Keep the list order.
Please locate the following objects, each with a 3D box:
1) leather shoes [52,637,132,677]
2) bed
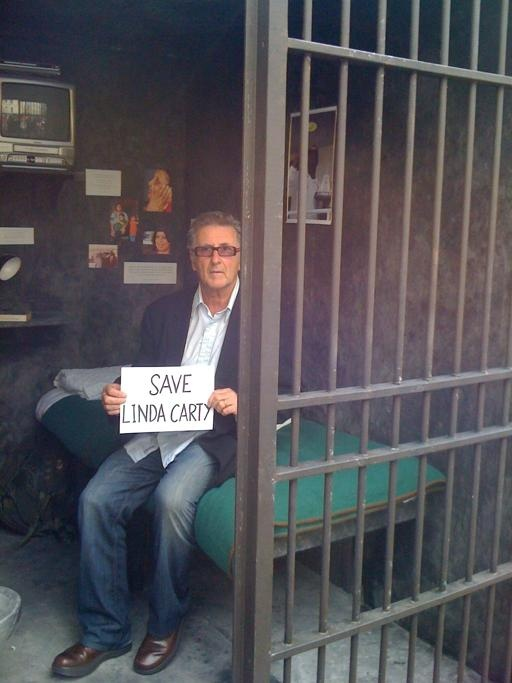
[{"bbox_3d":[-0.553,1.004,2.149,0.076,0.105,0.211,0,-5,44],"label":"leather shoes"},{"bbox_3d":[-0.131,0.459,2.545,0.703,0.415,1.283,-3,10,-38],"label":"bed"}]
